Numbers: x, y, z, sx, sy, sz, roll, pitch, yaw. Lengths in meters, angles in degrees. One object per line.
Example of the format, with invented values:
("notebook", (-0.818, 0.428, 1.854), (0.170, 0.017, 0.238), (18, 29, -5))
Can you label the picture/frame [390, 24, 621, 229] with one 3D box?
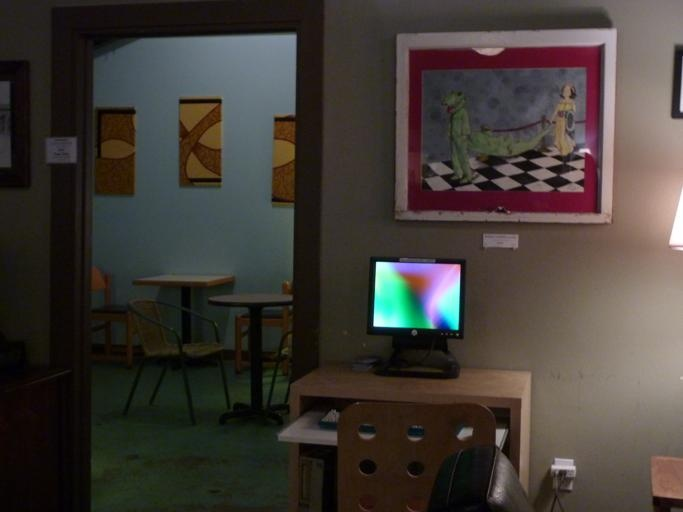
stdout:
("picture/frame", (0.868, -0.668, 3.061), (0.914, 0.895, 0.075), (0, -1, 5))

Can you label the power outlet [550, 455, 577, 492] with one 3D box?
("power outlet", (1.092, 1.078, 3.076), (0.143, 0.222, 0.140), (1, -1, 6))

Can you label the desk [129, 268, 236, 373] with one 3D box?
("desk", (-1.607, 0.635, 6.264), (0.752, 0.860, 0.811), (1, 6, 10))
